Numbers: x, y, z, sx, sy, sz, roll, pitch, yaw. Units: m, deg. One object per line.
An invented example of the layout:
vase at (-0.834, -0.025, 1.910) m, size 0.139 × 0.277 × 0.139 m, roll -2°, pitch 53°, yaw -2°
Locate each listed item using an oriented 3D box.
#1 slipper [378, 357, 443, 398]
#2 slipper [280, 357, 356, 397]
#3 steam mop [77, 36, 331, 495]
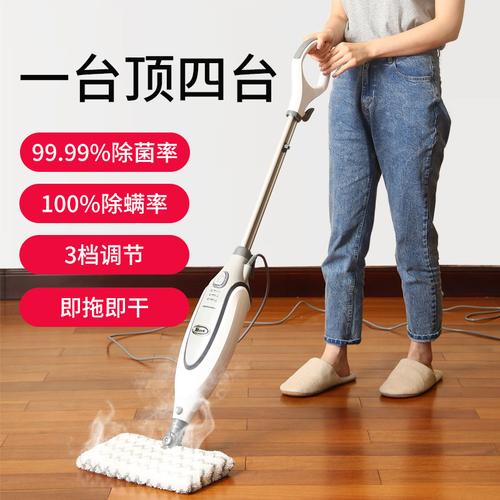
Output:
slipper at (0.396, 0.329, 1.489) m, size 0.069 × 0.052 × 0.177 m, roll -3°, pitch 3°, yaw 38°
slipper at (0.175, 0.328, 1.488) m, size 0.185 × 0.059 × 0.071 m, roll -4°, pitch 1°, yaw -31°
steam mop at (-0.073, 0.072, 1.161) m, size 0.521 × 0.725 × 0.230 m, roll -11°, pitch 15°, yaw -41°
